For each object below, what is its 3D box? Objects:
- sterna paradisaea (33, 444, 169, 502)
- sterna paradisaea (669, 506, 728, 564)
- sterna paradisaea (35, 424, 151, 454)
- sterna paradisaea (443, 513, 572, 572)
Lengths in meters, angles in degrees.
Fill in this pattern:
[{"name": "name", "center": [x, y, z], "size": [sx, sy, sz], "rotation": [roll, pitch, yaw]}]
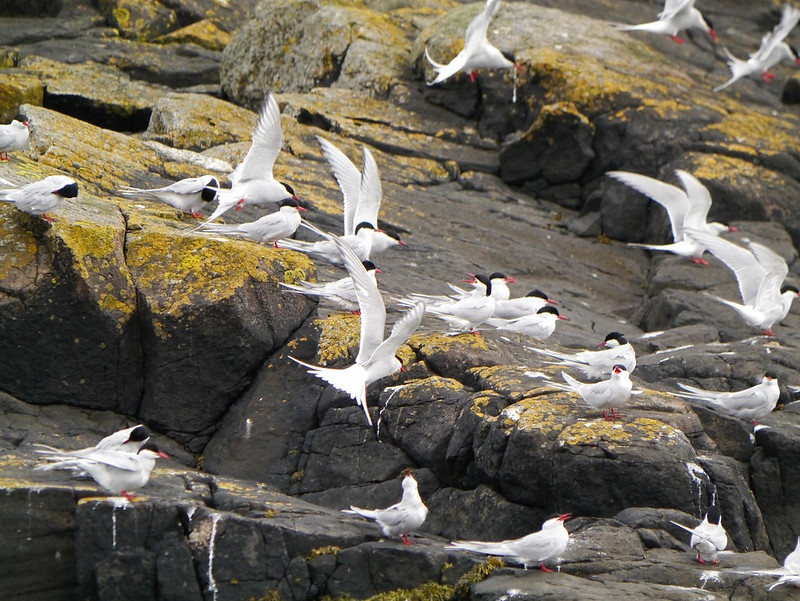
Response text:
[{"name": "sterna paradisaea", "center": [-5.022, 2.875, 28.898], "size": [2.154, 0.693, 1.183], "rotation": [-7, 9, -44]}, {"name": "sterna paradisaea", "center": [5.167, 3.849, 28.761], "size": [0.722, 0.733, 1.201], "rotation": [0, 12, 26]}, {"name": "sterna paradisaea", "center": [-5.155, 2.427, 29.206], "size": [1.683, 0.469, 1.730], "rotation": [-4, 7, -14]}, {"name": "sterna paradisaea", "center": [1.982, 3.949, 28.376], "size": [1.630, 1.220, 0.511], "rotation": [17, 27, -10]}]
